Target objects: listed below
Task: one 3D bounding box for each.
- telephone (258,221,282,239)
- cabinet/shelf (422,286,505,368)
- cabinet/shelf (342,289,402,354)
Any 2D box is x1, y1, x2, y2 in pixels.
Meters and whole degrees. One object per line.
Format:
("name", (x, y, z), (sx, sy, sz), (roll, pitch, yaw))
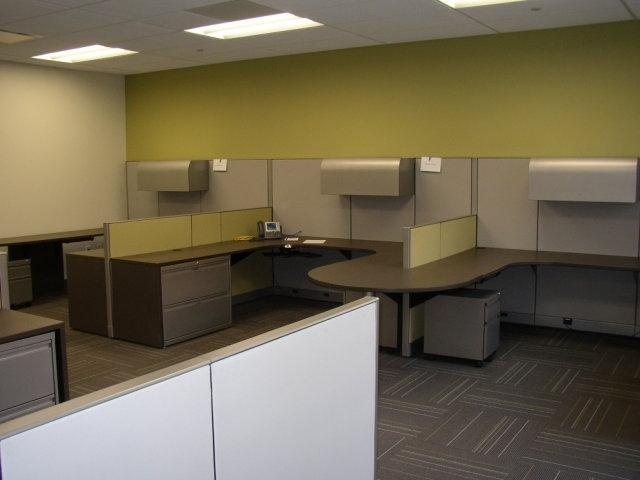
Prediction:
("telephone", (-0.695, -0.134, 7.001), (0.400, 0.278, 0.210), (0, -1, 1))
("cabinet/shelf", (1.417, 0.811, 5.048), (0.703, 0.688, 0.668), (0, 2, 21))
("cabinet/shelf", (0.519, 0.808, 5.175), (0.503, 0.576, 0.195), (7, 13, 40))
